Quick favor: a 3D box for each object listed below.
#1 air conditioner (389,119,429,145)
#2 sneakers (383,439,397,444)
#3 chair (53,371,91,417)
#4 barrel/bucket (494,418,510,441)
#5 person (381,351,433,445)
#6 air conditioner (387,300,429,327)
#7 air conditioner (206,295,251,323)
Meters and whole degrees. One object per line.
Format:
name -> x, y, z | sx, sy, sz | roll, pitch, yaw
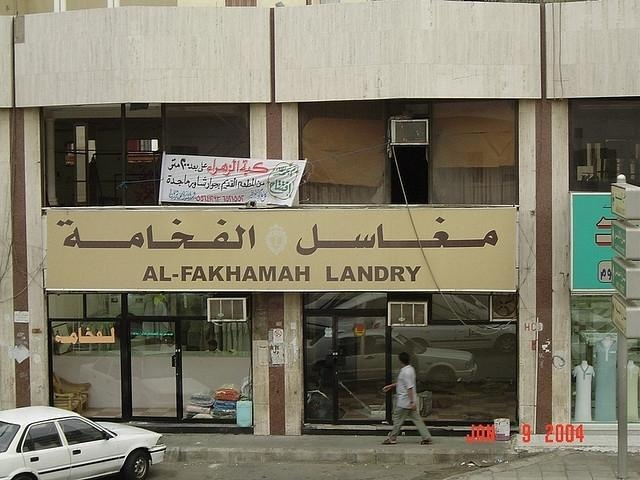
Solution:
air conditioner -> 2.002, -2.223, 30.132 | 0.850, 0.621, 0.514 | 0, 1, 0
sneakers -> 1.553, 4.444, 29.537 | 0.253, 0.111, 0.118 | 3, 0, 10
chair -> -5.774, 3.586, 31.150 | 0.842, 1.335, 0.829 | 0, 0, 11
barrel/bucket -> 4.051, 4.206, 29.698 | 0.326, 0.464, 0.176 | -2, -2, -4
person -> 1.920, 3.515, 29.767 | 1.022, 2.004, 1.042 | -2, -2, 0
air conditioner -> 1.988, 1.491, 30.128 | 0.850, 0.601, 0.515 | 0, -1, 5
air conditioner -> -2.056, 1.568, 30.224 | 0.888, 0.524, 0.589 | -1, -4, 5
